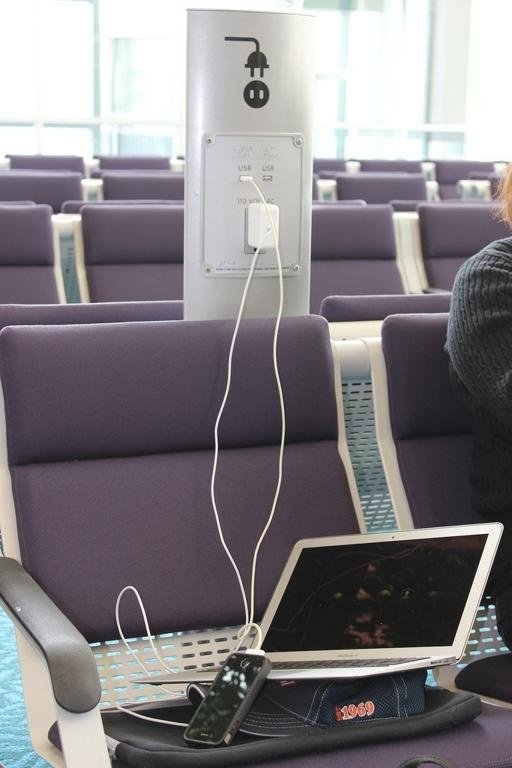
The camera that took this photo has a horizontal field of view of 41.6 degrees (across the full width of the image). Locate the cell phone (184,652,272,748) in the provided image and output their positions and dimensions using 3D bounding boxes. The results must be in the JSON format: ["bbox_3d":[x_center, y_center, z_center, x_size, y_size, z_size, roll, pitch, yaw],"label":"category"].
[{"bbox_3d":[-0.025,0.341,0.744,0.060,0.026,0.110,11,57,42],"label":"cell phone"}]
